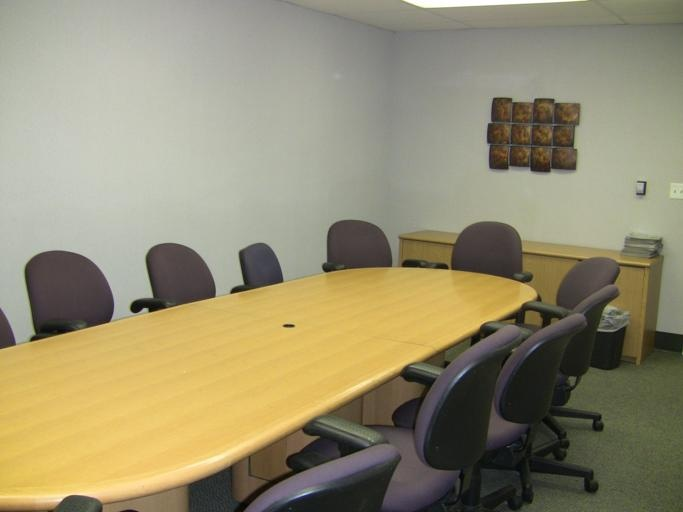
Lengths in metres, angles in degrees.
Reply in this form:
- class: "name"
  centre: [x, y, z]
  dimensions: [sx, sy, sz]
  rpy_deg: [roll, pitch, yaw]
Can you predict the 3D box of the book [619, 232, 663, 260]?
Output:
- class: "book"
  centre: [2.756, -0.090, 4.833]
  dimensions: [0.319, 0.183, 0.237]
  rpy_deg: [7, 15, 22]
